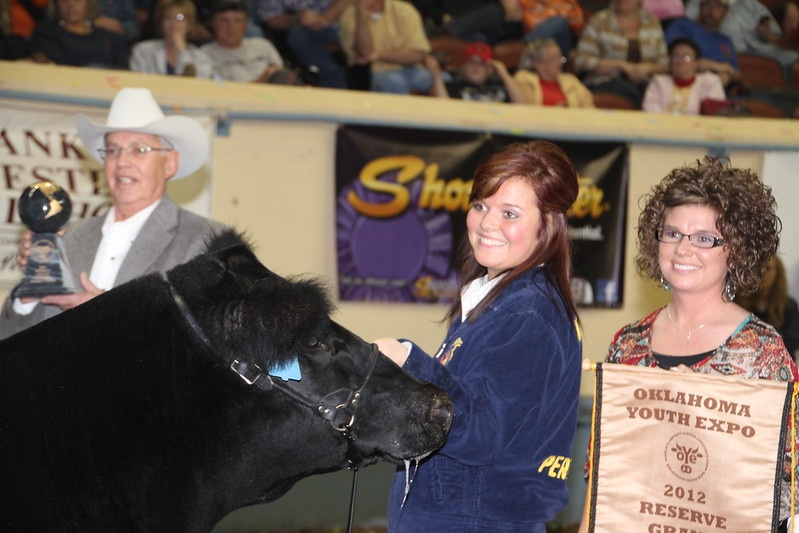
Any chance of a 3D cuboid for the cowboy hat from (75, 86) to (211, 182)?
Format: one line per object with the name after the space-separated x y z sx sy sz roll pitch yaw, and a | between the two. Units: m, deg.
-1.620 -0.823 7.456 0.831 0.326 0.698 0 -10 -35 | cowboy hat
